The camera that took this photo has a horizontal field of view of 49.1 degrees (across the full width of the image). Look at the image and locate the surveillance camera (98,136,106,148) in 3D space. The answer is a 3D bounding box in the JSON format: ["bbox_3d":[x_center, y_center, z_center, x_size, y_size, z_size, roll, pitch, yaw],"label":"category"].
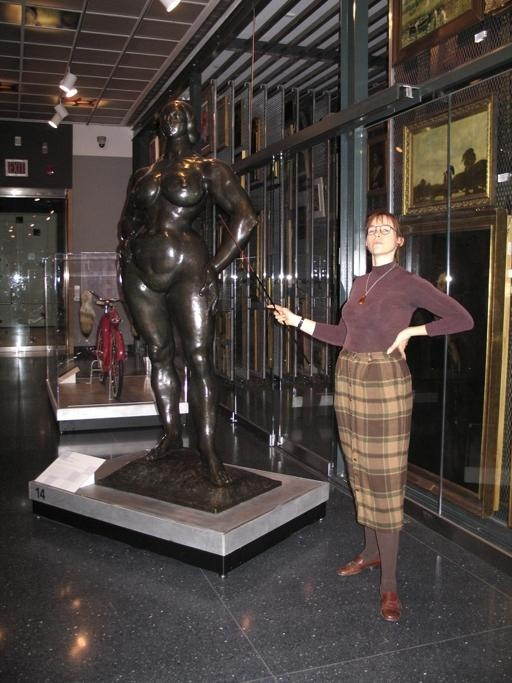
[{"bbox_3d":[-2.616,-3.388,9.492,0.155,0.194,0.176,-1,3,-17],"label":"surveillance camera"}]

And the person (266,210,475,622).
[{"bbox_3d":[0.454,0.233,1.827,0.248,1.302,0.452,-1,3,-22],"label":"person"}]

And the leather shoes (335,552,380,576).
[{"bbox_3d":[0.384,0.851,2.109,0.188,0.072,0.065,-2,-1,-16],"label":"leather shoes"}]

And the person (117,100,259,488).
[{"bbox_3d":[-0.339,-0.255,2.535,0.414,1.694,0.604,-2,4,-41],"label":"person"}]

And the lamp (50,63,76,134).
[{"bbox_3d":[-2.713,-3.424,7.829,0.271,0.305,1.032,16,-27,-21],"label":"lamp"}]
